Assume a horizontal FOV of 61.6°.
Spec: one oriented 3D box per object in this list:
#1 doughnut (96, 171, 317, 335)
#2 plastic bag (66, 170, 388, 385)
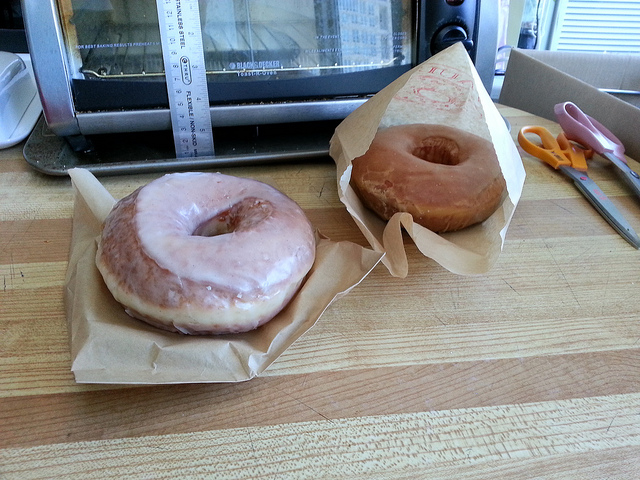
[{"bbox_3d":[-0.133,0.006,0.638,0.244,0.096,0.240,17,40,9],"label":"doughnut"},{"bbox_3d":[-0.159,0.049,0.615,0.437,0.103,0.281,8,35,10],"label":"plastic bag"}]
